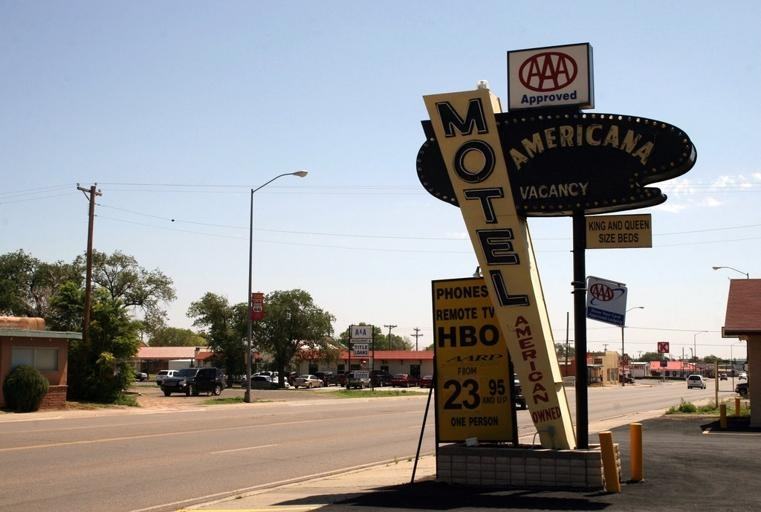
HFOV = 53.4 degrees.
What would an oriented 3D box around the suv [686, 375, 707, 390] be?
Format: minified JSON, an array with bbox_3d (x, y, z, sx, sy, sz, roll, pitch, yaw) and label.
[{"bbox_3d":[36.679,14.733,87.795,1.484,1.335,2.873,0,3,22],"label":"suv"}]
